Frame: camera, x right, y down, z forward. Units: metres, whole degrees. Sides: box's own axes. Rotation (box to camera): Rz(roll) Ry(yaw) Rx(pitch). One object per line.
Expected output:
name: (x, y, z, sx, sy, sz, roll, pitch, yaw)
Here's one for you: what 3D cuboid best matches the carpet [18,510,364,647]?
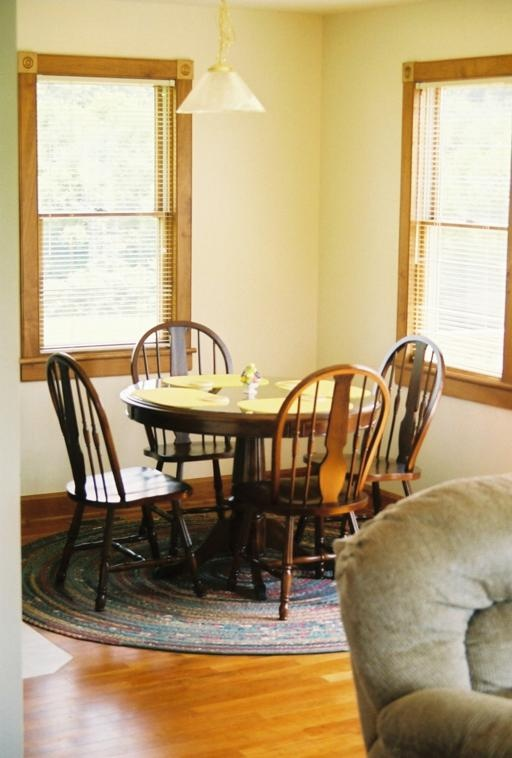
carpet: (-0.401, 1.004, 2.983, 1.622, 0.049, 0.946, 2, 5, 7)
